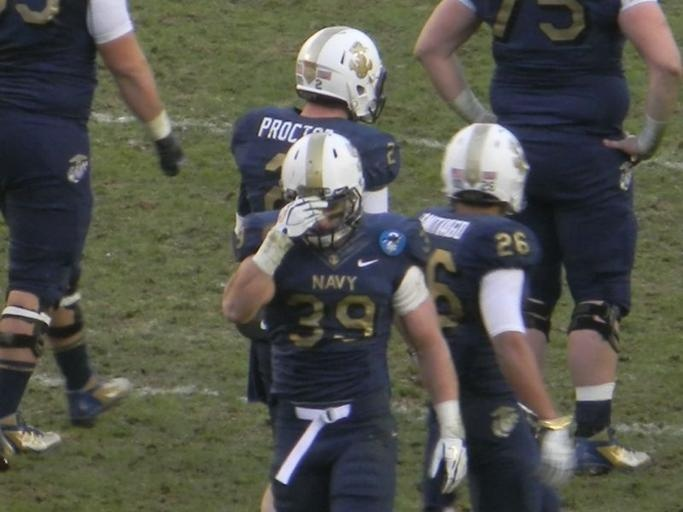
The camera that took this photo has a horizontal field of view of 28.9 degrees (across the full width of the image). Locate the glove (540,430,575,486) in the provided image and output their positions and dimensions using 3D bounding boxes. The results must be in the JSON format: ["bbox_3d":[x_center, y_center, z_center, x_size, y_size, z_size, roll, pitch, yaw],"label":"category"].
[{"bbox_3d":[1.144,1.071,7.058,0.233,0.346,0.225,-4,-9,18],"label":"glove"}]

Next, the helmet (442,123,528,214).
[{"bbox_3d":[0.795,-0.506,7.410,0.501,0.478,0.606,1,13,8],"label":"helmet"}]

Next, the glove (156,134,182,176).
[{"bbox_3d":[-1.093,-0.649,8.281,0.168,0.247,0.106,-1,35,14],"label":"glove"}]

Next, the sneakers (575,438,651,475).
[{"bbox_3d":[1.626,1.209,8.008,0.377,0.094,0.222,0,17,9],"label":"sneakers"}]

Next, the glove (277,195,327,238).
[{"bbox_3d":[-0.200,-0.199,6.600,0.255,0.175,0.160,-3,28,-15],"label":"glove"}]
